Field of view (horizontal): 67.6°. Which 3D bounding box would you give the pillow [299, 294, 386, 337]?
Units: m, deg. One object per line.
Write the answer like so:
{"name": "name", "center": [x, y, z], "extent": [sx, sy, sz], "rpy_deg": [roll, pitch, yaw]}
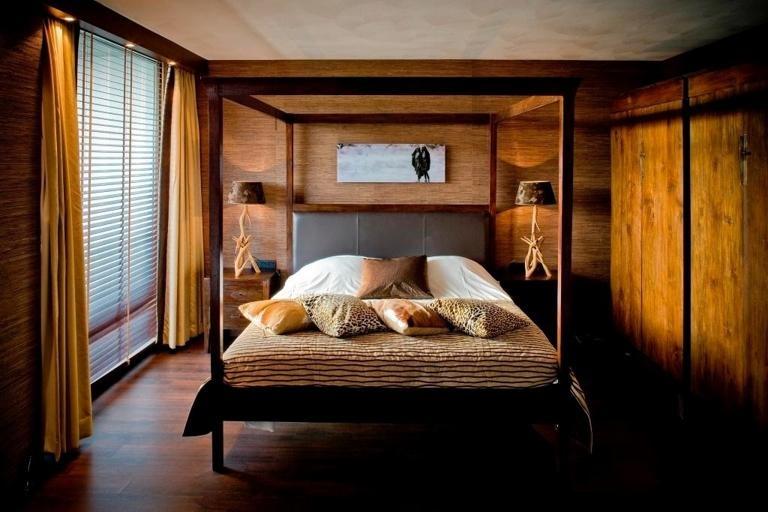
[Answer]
{"name": "pillow", "center": [-0.299, 0.394, 4.423], "extent": [0.495, 0.163, 0.585], "rpy_deg": [-3, 27, -43]}

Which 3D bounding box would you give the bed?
{"name": "bed", "center": [0.012, 0.463, 4.848], "extent": [2.720, 1.893, 2.031], "rpy_deg": [2, 9, 0]}

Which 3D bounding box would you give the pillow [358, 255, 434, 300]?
{"name": "pillow", "center": [0.085, 0.198, 5.688], "extent": [0.742, 0.292, 1.089], "rpy_deg": [-3, 21, -6]}

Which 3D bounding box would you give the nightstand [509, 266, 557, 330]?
{"name": "nightstand", "center": [1.354, 0.431, 5.942], "extent": [0.828, 0.643, 0.503], "rpy_deg": [-1, 0, 3]}

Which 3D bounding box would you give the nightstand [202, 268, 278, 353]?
{"name": "nightstand", "center": [-1.323, 0.531, 6.164], "extent": [0.830, 0.941, 0.856], "rpy_deg": [0, 6, -4]}
